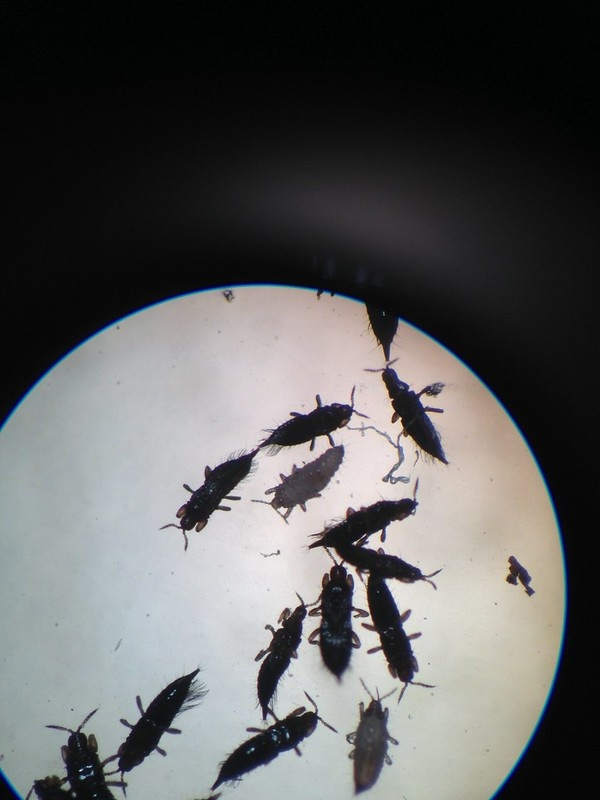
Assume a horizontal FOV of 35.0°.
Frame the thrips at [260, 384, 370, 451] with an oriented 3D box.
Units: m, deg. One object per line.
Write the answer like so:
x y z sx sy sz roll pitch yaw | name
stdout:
0.020 0.038 1.537 0.161 0.037 0.080 -19 93 -14 | thrips

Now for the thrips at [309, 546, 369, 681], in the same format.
0.067 0.334 1.410 0.126 0.041 0.146 3 78 -5 | thrips

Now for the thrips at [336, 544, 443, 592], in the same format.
0.138 0.258 1.546 0.171 0.050 0.060 19 64 19 | thrips

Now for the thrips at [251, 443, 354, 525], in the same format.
0.004 0.136 1.547 0.164 0.032 0.079 -35 84 -27 | thrips

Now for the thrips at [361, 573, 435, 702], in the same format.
0.146 0.351 1.409 0.088 0.037 0.169 -16 66 -6 | thrips

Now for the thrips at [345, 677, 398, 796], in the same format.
0.107 0.509 1.427 0.074 0.038 0.142 6 80 0 | thrips

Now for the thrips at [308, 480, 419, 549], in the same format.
0.105 0.192 1.551 0.173 0.055 0.085 -16 49 -4 | thrips
